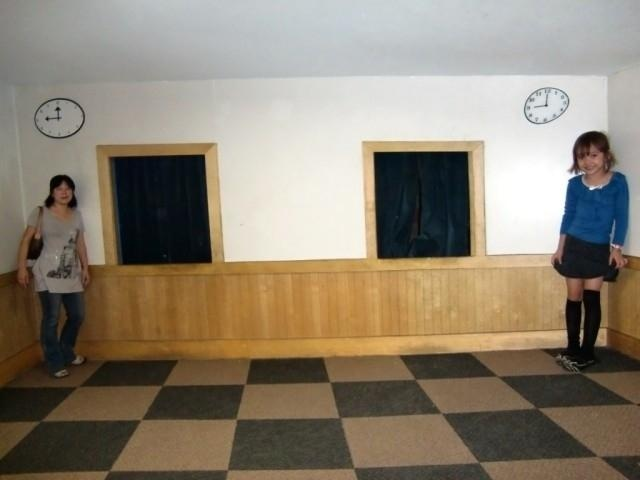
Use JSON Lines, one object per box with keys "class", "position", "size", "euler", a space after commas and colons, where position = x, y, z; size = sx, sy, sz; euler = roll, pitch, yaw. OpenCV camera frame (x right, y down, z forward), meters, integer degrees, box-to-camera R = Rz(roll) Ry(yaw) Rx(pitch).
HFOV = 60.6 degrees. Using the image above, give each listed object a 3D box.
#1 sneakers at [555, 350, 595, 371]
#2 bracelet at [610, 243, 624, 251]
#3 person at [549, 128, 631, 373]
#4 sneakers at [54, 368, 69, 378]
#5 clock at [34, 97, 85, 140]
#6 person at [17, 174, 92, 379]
{"class": "sneakers", "position": [2.626, 1.251, 5.618], "size": [0.149, 0.181, 0.386], "euler": [-3, 6, -7]}
{"class": "bracelet", "position": [3.036, 0.047, 5.607], "size": [0.097, 0.071, 0.132], "euler": [3, -12, 37]}
{"class": "person", "position": [2.793, 0.104, 5.624], "size": [0.661, 2.410, 0.522], "euler": [-1, 8, 11]}
{"class": "sneakers", "position": [-2.691, 1.387, 5.698], "size": [0.127, 0.076, 0.043], "euler": [-8, -27, -4]}
{"class": "clock", "position": [-2.835, -1.355, 5.945], "size": [0.421, 0.416, 0.059], "euler": [0, 7, -1]}
{"class": "person", "position": [-2.811, 0.360, 5.855], "size": [0.483, 2.085, 0.605], "euler": [1, 8, 23]}
